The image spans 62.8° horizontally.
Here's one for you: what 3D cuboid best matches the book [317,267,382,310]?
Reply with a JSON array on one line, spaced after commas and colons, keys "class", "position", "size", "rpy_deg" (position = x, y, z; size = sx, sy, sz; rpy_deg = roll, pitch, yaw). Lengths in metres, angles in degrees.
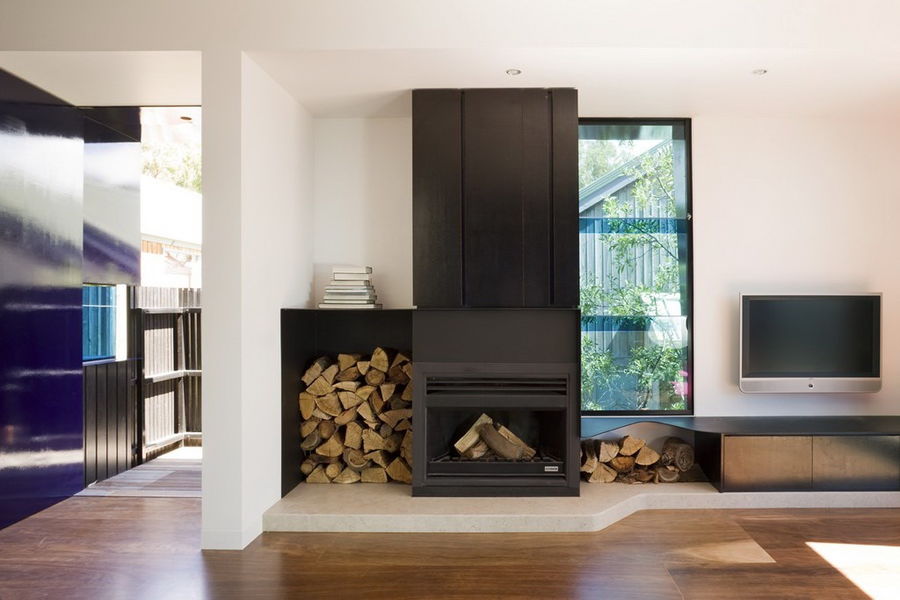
[{"class": "book", "position": [-0.845, -0.094, 6.228], "size": [0.493, 0.332, 0.356], "rpy_deg": [1, -1, 0]}]
